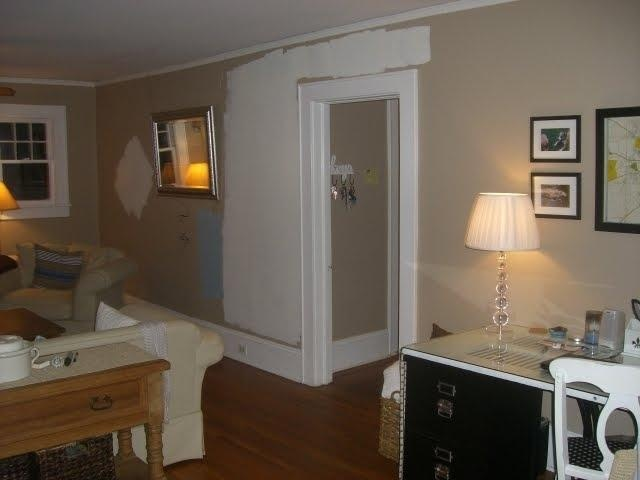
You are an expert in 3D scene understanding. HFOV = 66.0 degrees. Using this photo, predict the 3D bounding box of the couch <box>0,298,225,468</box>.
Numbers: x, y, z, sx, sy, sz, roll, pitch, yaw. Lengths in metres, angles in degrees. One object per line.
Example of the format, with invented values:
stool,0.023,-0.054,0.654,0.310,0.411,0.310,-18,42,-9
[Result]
couch,-1.237,0.900,3.337,0.823,1.213,0.978,-4,8,-40

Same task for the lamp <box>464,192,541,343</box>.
lamp,1.141,0.155,3.069,0.401,0.901,0.487,3,8,31

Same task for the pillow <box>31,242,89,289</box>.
pillow,-2.887,0.285,5.436,0.460,0.470,0.145,5,-17,9

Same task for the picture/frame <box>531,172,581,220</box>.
picture/frame,1.470,-0.278,3.052,0.260,0.279,0.017,10,12,39

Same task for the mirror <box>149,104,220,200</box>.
mirror,-1.623,-1.008,5.743,1.107,0.996,0.035,7,14,36

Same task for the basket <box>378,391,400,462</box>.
basket,0.468,1.238,3.327,0.078,0.496,0.277,-4,7,-21

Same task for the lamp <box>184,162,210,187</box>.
lamp,-1.386,-0.728,5.548,0.065,0.286,0.492,-7,9,-39

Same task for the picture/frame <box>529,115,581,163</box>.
picture/frame,1.464,-0.632,3.044,0.286,0.293,0.022,5,10,40
